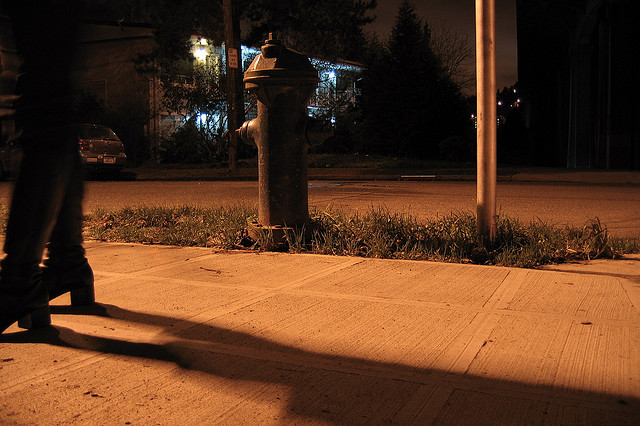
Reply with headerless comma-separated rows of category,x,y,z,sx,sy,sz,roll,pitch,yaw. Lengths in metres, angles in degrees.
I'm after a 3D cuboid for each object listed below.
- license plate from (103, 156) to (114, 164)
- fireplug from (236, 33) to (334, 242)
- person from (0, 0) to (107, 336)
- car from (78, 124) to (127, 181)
license plate,-7.776,-1.917,18.098,0.020,0.250,0.382,7,13,43
fireplug,-0.369,-0.820,5.323,0.946,2.245,0.675,-1,9,-4
person,-1.700,-0.259,3.089,0.511,1.967,0.800,-4,9,-20
car,-8.913,-2.288,19.271,1.841,1.904,3.521,-3,5,-39
